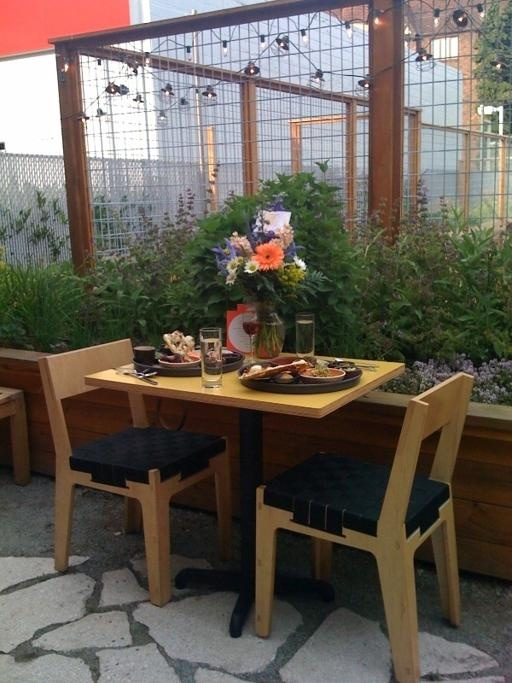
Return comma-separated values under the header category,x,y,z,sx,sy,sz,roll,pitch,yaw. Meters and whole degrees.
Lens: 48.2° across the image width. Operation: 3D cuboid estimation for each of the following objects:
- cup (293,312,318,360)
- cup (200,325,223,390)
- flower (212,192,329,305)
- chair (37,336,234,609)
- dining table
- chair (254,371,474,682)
category,x,y,z,sx,sy,sz,roll,pitch,yaw
cup,0.157,-0.016,1.824,0.054,0.139,0.068,-2,7,1
cup,-0.130,0.048,1.670,0.063,0.161,0.138,-3,7,-5
flower,0.007,-0.234,1.942,0.405,0.374,0.379,8,7,10
chair,-0.447,0.359,2.436,0.900,1.242,0.707,5,10,31
dining table,0.024,0.427,2.033,0.901,0.819,0.905,5,10,30
chair,0.341,0.419,2.035,0.836,1.127,0.632,7,11,34
